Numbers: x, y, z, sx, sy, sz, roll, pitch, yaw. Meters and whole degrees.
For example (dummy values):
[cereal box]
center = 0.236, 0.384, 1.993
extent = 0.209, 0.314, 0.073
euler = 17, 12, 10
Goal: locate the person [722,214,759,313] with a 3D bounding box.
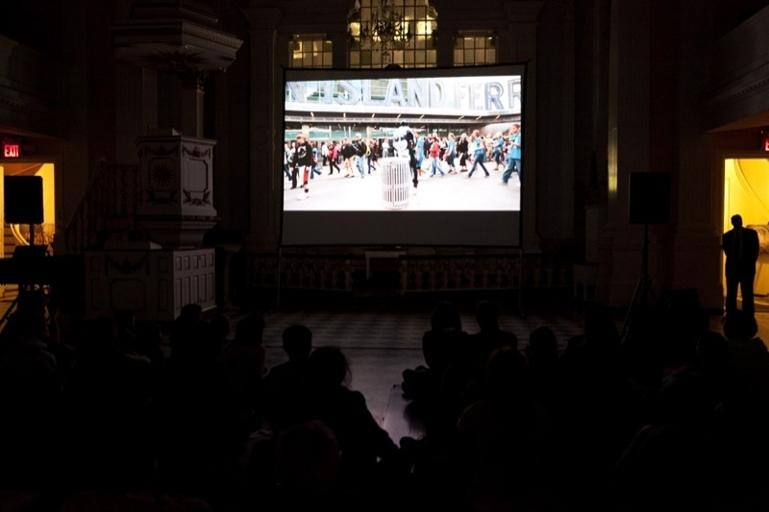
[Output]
[person]
center = 5.212, 0.105, 9.197
extent = 0.464, 1.411, 0.724
euler = 2, 4, 31
